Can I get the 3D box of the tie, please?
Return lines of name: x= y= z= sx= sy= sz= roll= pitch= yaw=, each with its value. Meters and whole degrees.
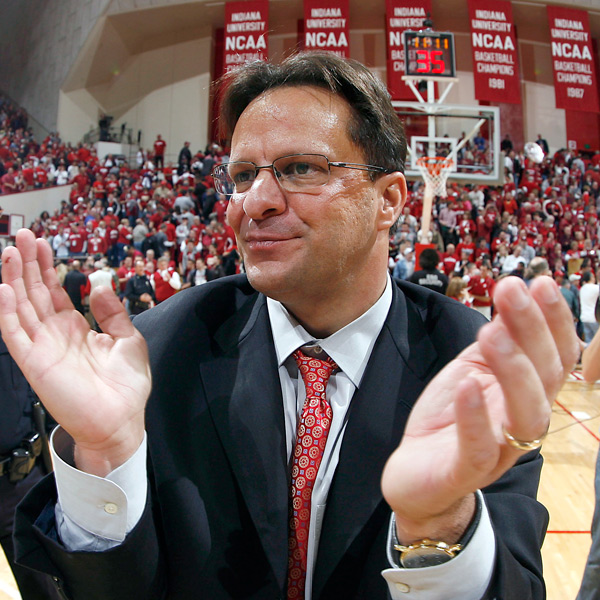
tie: x=0.022 y=0.263 z=0.922 sx=0.038 sy=0.402 sz=0.065 roll=2 pitch=-18 yaw=12
